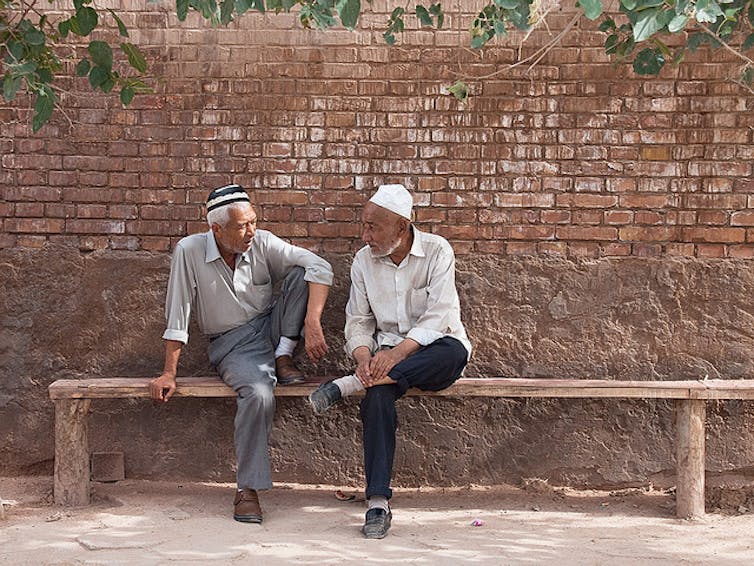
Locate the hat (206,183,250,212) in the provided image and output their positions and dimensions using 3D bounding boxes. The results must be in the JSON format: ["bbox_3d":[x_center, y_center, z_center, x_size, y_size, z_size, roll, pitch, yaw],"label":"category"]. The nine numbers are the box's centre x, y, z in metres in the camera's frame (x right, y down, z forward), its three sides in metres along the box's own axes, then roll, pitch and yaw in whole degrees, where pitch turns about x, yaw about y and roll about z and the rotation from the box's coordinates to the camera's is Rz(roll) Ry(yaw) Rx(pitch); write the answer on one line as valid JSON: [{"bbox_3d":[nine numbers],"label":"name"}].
[{"bbox_3d":[-1.011,-0.547,7.863,0.214,0.104,0.210,-11,10,17],"label":"hat"}]

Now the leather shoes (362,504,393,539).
[{"bbox_3d":[0.004,1.530,7.379,0.154,0.144,0.383,0,-9,8],"label":"leather shoes"}]

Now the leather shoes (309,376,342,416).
[{"bbox_3d":[-0.331,0.755,7.657,0.190,0.217,0.284,-1,1,5],"label":"leather shoes"}]

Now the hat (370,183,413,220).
[{"bbox_3d":[0.109,-0.546,7.762,0.199,0.173,0.271,15,8,30],"label":"hat"}]

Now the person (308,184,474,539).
[{"bbox_3d":[0.102,0.476,7.782,0.967,2.266,0.730,-2,2,-34],"label":"person"}]

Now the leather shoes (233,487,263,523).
[{"bbox_3d":[-0.841,1.460,7.583,0.180,0.207,0.161,-1,1,-8],"label":"leather shoes"}]
